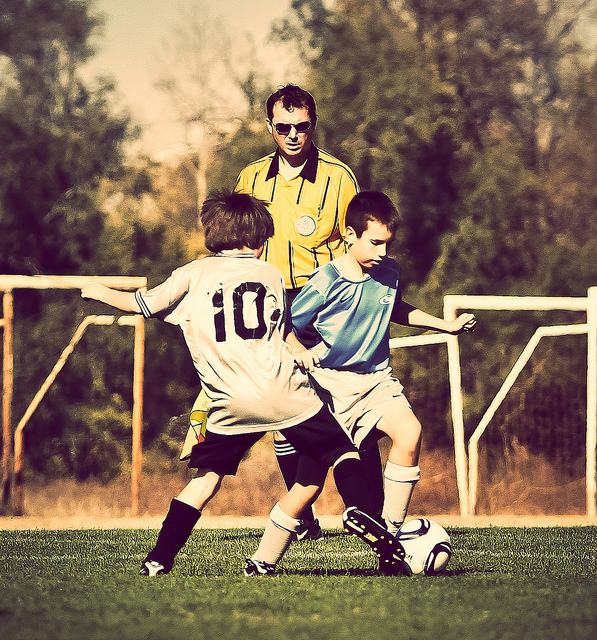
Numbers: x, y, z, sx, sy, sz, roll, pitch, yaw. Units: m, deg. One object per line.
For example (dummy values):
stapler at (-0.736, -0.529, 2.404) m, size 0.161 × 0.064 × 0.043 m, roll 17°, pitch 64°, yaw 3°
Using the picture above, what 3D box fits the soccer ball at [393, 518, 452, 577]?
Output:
soccer ball at (0.473, 0.894, 4.643) m, size 0.260 × 0.187 × 0.239 m, roll 5°, pitch -2°, yaw 0°

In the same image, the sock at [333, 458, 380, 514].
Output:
sock at (0.216, 0.622, 4.533) m, size 0.244 × 0.224 × 0.138 m, roll 3°, pitch 7°, yaw 3°

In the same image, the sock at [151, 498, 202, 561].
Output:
sock at (-0.469, 0.797, 4.476) m, size 0.169 × 0.226 × 0.082 m, roll 5°, pitch -1°, yaw -7°

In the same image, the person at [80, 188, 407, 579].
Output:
person at (-0.205, 0.248, 4.534) m, size 1.170 × 1.390 × 0.343 m, roll 5°, pitch -1°, yaw -7°

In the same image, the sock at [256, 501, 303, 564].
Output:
sock at (-0.075, 0.872, 4.607) m, size 0.160 × 0.275 × 0.146 m, roll 14°, pitch 4°, yaw -23°

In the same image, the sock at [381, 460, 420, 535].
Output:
sock at (0.400, 0.754, 4.777) m, size 0.136 × 0.429 × 0.145 m, roll 9°, pitch 17°, yaw 11°
